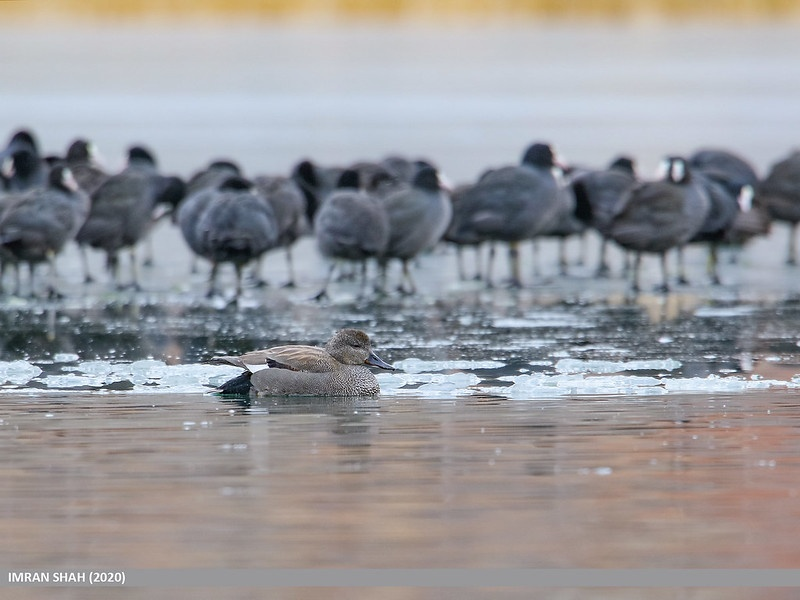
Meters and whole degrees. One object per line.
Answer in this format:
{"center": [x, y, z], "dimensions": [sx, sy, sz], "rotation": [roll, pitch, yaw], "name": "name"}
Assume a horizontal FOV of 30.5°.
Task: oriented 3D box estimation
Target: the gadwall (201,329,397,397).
{"center": [-0.689, 0.481, 10.925], "dimensions": [1.554, 0.378, 0.483], "rotation": [0, 9, -7], "name": "gadwall"}
